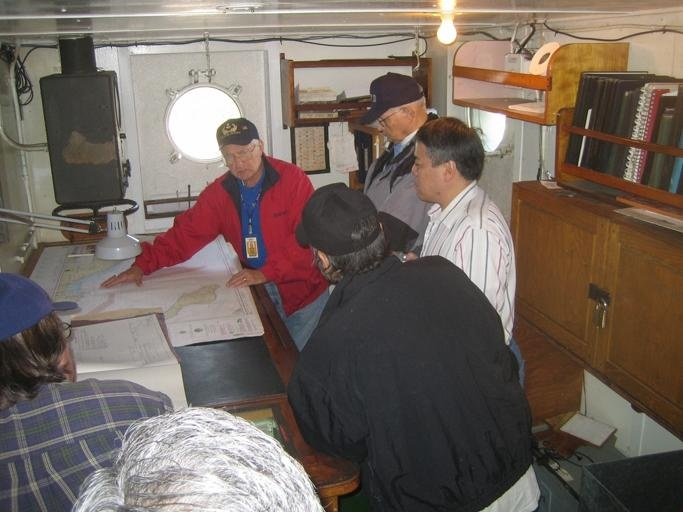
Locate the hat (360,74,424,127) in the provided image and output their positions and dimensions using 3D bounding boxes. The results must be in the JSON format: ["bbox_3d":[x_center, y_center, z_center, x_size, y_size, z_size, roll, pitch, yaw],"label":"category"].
[{"bbox_3d":[0.240,-0.784,2.650,0.287,0.170,0.198,-30,33,13],"label":"hat"}]

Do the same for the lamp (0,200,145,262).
[{"bbox_3d":[-1.556,-0.136,2.981,0.699,0.375,0.306,-7,11,-13],"label":"lamp"}]

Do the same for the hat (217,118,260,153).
[{"bbox_3d":[-0.554,-0.657,2.819,0.154,0.111,0.216,-6,13,7],"label":"hat"}]

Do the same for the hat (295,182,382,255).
[{"bbox_3d":[-0.011,-0.108,1.672,0.186,0.140,0.249,-28,42,-19],"label":"hat"}]
